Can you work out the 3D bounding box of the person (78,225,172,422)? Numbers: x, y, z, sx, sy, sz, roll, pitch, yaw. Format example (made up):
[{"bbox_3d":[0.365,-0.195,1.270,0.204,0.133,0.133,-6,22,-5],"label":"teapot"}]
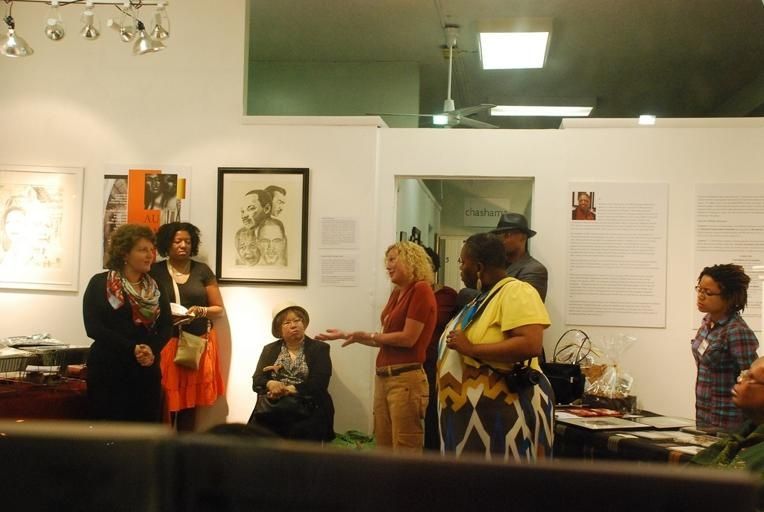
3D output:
[{"bbox_3d":[-1.820,0.446,4.343,0.606,1.413,0.294,9,-15,-21],"label":"person"}]

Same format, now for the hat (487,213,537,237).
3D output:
[{"bbox_3d":[1.138,-0.284,5.049,0.265,0.098,0.212,12,-15,-33],"label":"hat"}]

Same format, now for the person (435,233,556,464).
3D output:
[{"bbox_3d":[0.547,0.420,3.010,0.574,1.096,0.350,0,-15,15],"label":"person"}]

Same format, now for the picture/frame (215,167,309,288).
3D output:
[{"bbox_3d":[-1.062,-0.221,5.501,1.099,1.390,0.070,1,-1,1],"label":"picture/frame"}]

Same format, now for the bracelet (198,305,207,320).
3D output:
[{"bbox_3d":[-1.504,0.482,5.093,0.073,0.072,0.073,-10,-30,0],"label":"bracelet"}]

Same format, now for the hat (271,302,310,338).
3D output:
[{"bbox_3d":[-0.776,0.489,4.934,0.259,0.148,0.283,0,-43,-17],"label":"hat"}]

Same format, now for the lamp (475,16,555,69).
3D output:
[{"bbox_3d":[1.497,-2.418,6.900,0.769,0.199,0.781,1,-14,10],"label":"lamp"}]

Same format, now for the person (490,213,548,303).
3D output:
[{"bbox_3d":[1.113,0.072,5.126,0.471,0.842,0.552,2,2,-39],"label":"person"}]

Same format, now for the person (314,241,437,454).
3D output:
[{"bbox_3d":[0.043,0.539,3.847,0.580,1.307,0.482,2,-14,7],"label":"person"}]

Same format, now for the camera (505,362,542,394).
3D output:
[{"bbox_3d":[0.669,0.582,2.947,0.143,0.137,0.134,6,14,-11],"label":"camera"}]
